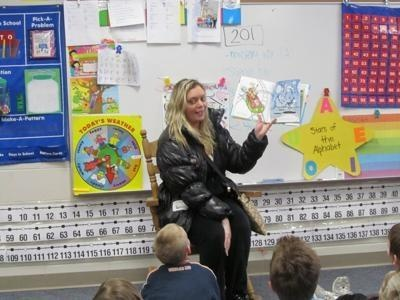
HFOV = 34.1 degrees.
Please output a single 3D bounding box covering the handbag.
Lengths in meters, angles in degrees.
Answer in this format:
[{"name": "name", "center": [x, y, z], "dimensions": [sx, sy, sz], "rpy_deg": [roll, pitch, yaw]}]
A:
[{"name": "handbag", "center": [0.365, 0.441, 4.538], "dimensions": [0.181, 0.278, 0.195], "rpy_deg": [1, 13, -5]}]
